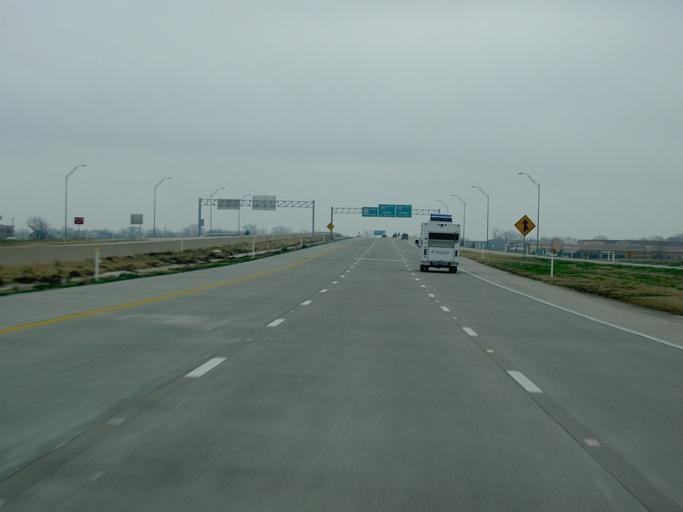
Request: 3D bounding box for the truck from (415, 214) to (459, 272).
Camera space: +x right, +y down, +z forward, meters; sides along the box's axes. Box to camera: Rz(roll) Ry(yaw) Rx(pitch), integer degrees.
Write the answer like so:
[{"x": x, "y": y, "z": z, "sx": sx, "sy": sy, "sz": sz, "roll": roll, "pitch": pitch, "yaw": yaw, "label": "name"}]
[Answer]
[{"x": 5.878, "y": -0.810, "z": 42.330, "sx": 3.349, "sy": 3.443, "sz": 5.629, "roll": 1, "pitch": 4, "yaw": 5, "label": "truck"}]
